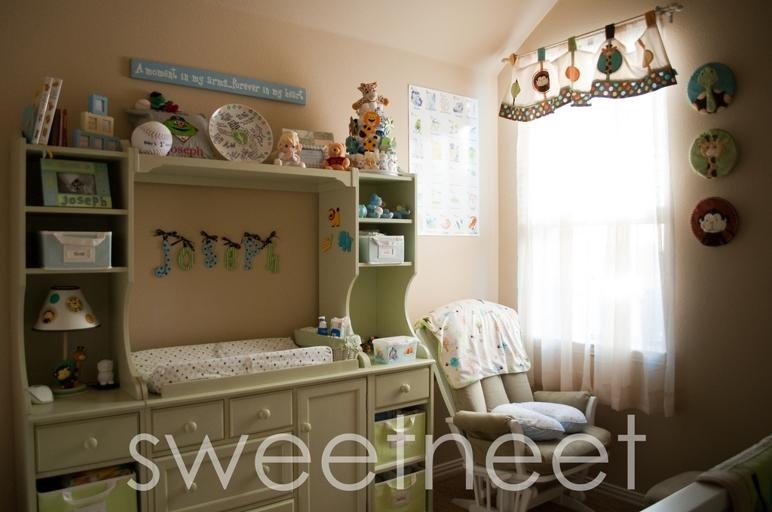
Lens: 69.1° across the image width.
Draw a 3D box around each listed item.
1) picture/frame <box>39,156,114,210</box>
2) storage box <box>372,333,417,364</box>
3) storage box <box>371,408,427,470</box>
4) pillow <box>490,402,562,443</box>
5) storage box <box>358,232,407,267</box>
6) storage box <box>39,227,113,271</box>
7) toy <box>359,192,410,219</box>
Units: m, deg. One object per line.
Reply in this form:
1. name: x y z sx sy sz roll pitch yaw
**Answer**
1. picture/frame: -1.670 -0.392 3.009 0.294 0.258 0.030 0 -15 -30
2. storage box: 0.034 0.581 3.757 0.249 0.132 0.161 0 -2 -38
3. storage box: 0.075 1.196 3.745 0.403 0.280 0.288 1 -4 -43
4. pillow: 0.956 1.104 3.729 0.435 0.169 0.315 0 2 -10
5. storage box: -0.014 -0.037 3.773 0.310 0.215 0.213 1 -3 -43
6. storage box: -1.643 -0.032 2.959 0.234 0.147 0.235 -1 2 -36
7. toy: -0.002 -0.329 3.865 0.261 0.112 0.198 6 1 -1
